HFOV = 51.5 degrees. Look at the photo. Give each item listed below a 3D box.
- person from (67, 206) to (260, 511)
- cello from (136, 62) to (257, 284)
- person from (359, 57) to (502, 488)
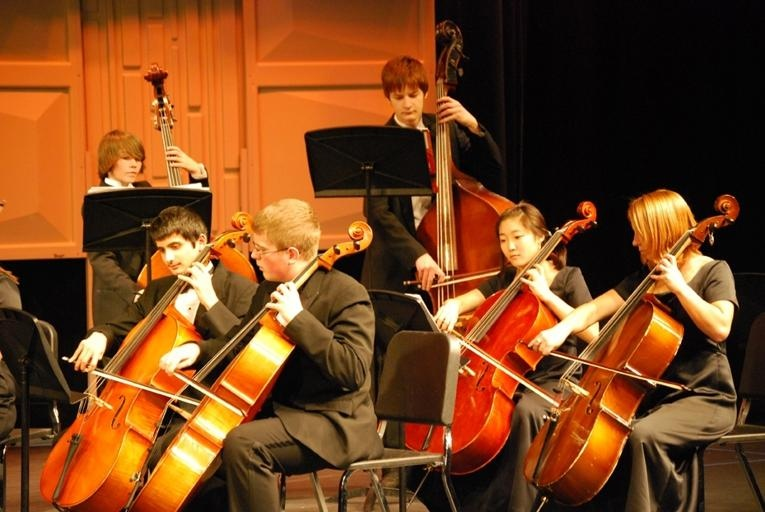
[{"bbox_3d":[-1.050,0.506,4.169,0.666,1.353,0.445,10,-27,40],"label":"person"},{"bbox_3d":[-1.190,-0.461,4.924,0.691,1.728,0.265,-10,-3,-8],"label":"cello"},{"bbox_3d":[0.242,-0.078,4.635,0.921,2.316,0.698,-1,-4,12],"label":"person"}]
